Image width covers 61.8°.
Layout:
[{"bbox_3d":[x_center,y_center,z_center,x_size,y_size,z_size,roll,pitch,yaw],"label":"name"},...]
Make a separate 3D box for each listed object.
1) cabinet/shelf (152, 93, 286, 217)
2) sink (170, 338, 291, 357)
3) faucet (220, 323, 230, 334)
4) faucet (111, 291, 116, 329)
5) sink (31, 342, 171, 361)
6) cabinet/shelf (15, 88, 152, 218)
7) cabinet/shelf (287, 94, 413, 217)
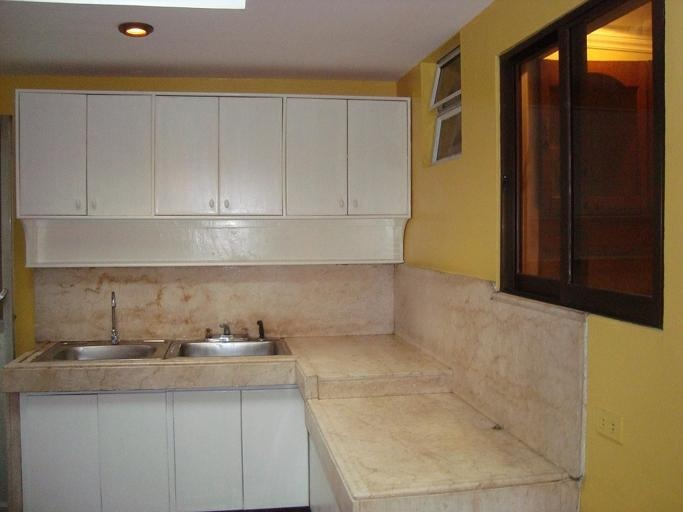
[{"bbox_3d":[-0.849,-0.706,4.102,0.912,0.833,0.330,0,2,0],"label":"cabinet/shelf"},{"bbox_3d":[-0.813,0.672,4.180,0.711,0.119,0.169,-2,-6,2],"label":"sink"},{"bbox_3d":[-0.853,0.542,4.224,0.083,0.100,0.063,3,-3,1],"label":"faucet"},{"bbox_3d":[-1.654,0.389,4.153,0.039,0.274,0.103,1,-6,-23],"label":"faucet"},{"bbox_3d":[-1.633,0.661,3.983,0.833,0.127,0.432,-1,-6,-11],"label":"sink"},{"bbox_3d":[-1.767,-0.704,3.833,0.832,0.798,0.330,0,3,-4],"label":"cabinet/shelf"},{"bbox_3d":[0.026,-0.681,4.394,0.897,0.878,0.680,0,-5,-2],"label":"cabinet/shelf"}]
